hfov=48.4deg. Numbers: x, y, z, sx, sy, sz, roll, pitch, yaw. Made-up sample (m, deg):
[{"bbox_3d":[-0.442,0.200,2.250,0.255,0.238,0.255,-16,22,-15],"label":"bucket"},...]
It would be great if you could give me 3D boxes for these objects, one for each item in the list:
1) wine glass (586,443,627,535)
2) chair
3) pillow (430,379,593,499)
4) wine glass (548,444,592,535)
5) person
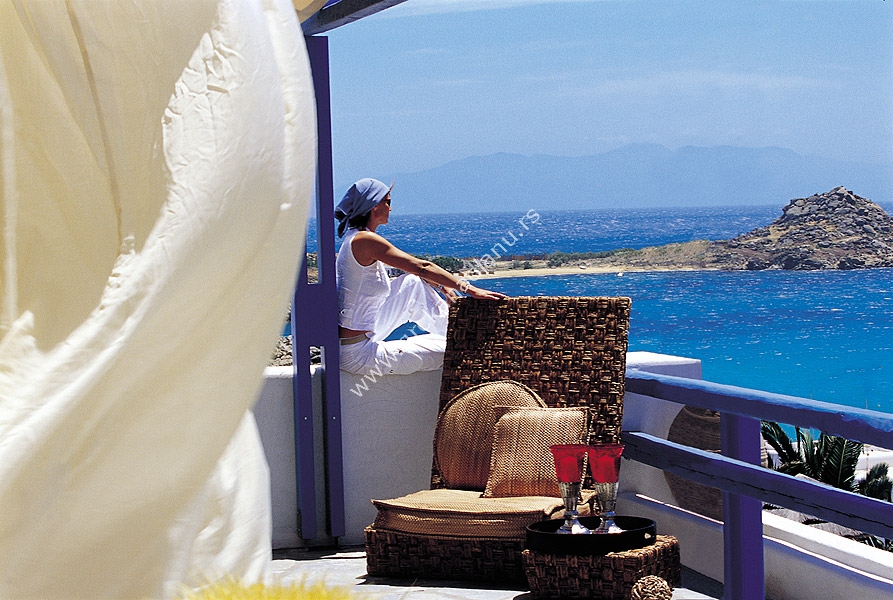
[{"bbox_3d":[0.413,0.496,2.566,0.108,0.212,0.107,-5,-11,27],"label":"wine glass"},{"bbox_3d":[0.129,0.445,3.171,0.876,0.851,0.870,0,-1,-26],"label":"chair"},{"bbox_3d":[0.204,0.462,3.259,0.273,0.351,0.512,4,1,-37],"label":"pillow"},{"bbox_3d":[0.332,0.506,2.676,0.106,0.229,0.188,5,1,9],"label":"wine glass"},{"bbox_3d":[-0.145,-0.139,4.001,0.799,0.821,0.532,-5,13,-32],"label":"person"}]
